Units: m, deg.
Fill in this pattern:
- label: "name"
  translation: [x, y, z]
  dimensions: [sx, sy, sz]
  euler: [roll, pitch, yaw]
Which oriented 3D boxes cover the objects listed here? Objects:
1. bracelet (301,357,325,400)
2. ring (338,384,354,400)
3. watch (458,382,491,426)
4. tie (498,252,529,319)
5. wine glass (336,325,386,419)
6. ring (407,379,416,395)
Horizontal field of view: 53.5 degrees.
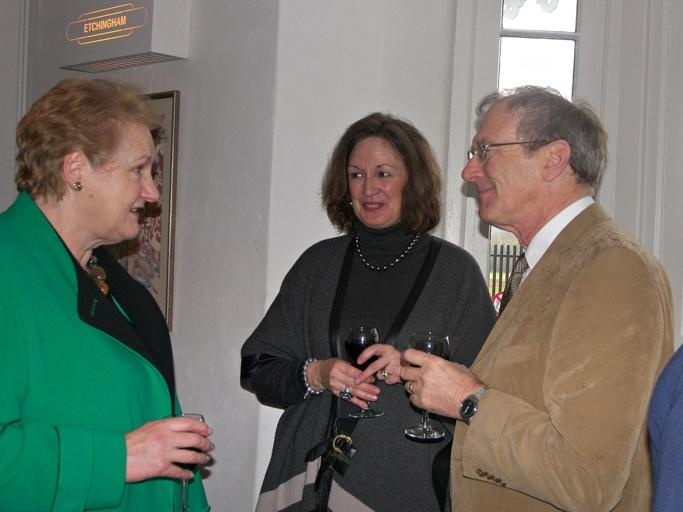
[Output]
- label: "bracelet"
  translation: [-0.119, 0.468, 2.586]
  dimensions: [0.042, 0.134, 0.095]
  euler: [-8, 4, -15]
- label: "ring"
  translation: [0.007, 0.486, 2.456]
  dimensions: [0.035, 0.054, 0.023]
  euler: [5, 7, 3]
- label: "watch"
  translation: [0.374, 0.415, 1.981]
  dimensions: [0.098, 0.110, 0.068]
  euler: [-3, 46, -44]
- label: "tie"
  translation: [0.631, 0.102, 2.483]
  dimensions: [0.031, 0.296, 0.038]
  euler: [13, 8, -36]
- label: "wine glass"
  translation: [0.083, 0.434, 2.473]
  dimensions: [0.132, 0.366, 0.173]
  euler: [0, 5, 4]
- label: "ring"
  translation: [0.212, 0.404, 2.087]
  dimensions: [0.013, 0.044, 0.031]
  euler: [5, 3, -7]
